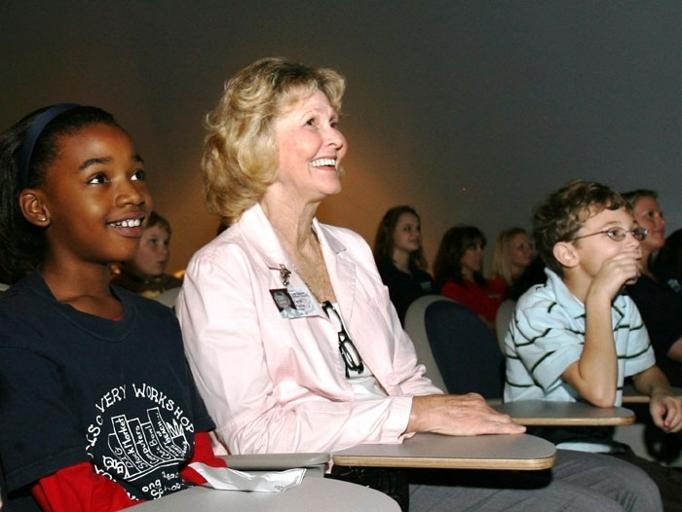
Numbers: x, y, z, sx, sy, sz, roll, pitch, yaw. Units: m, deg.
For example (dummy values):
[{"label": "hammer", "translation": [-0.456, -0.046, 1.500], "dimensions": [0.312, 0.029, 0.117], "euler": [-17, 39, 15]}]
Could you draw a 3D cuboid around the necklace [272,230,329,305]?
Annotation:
[{"label": "necklace", "translation": [-0.156, 0.025, 2.295], "dimensions": [0.068, 0.264, 0.160], "euler": [-22, -9, 37]}]
